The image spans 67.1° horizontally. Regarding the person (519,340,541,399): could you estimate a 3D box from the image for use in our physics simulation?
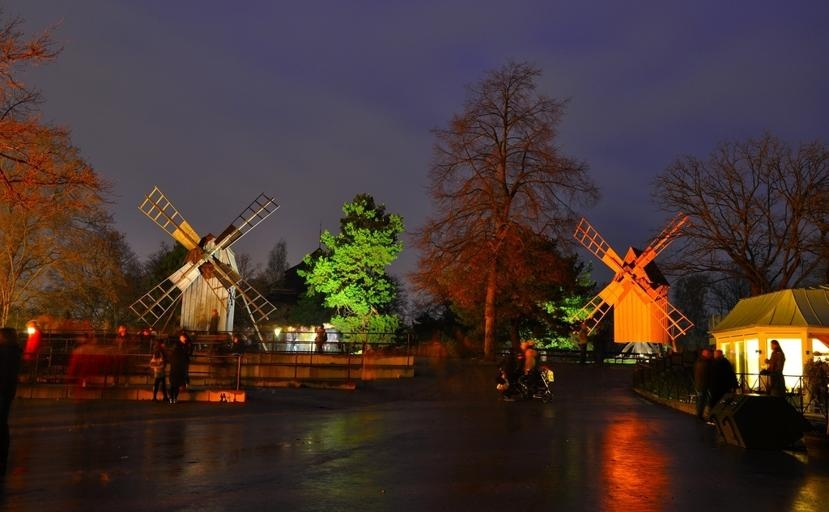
[{"bbox_3d":[5.317,5.221,29.188,1.167,3.048,0.909,1,15,9],"label":"person"}]

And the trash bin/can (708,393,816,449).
[{"bbox_3d":[9.878,5.190,18.036,1.997,1.432,2.391,6,-37,11],"label":"trash bin/can"}]

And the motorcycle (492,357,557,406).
[{"bbox_3d":[5.089,5.382,29.099,2.461,1.697,1.304,5,24,16],"label":"motorcycle"}]

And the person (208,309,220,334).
[{"bbox_3d":[-14.916,4.781,46.904,0.901,1.559,1.004,0,-5,8],"label":"person"}]

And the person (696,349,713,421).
[{"bbox_3d":[10.289,4.588,22.361,0.546,2.489,1.024,-1,-5,24],"label":"person"}]
